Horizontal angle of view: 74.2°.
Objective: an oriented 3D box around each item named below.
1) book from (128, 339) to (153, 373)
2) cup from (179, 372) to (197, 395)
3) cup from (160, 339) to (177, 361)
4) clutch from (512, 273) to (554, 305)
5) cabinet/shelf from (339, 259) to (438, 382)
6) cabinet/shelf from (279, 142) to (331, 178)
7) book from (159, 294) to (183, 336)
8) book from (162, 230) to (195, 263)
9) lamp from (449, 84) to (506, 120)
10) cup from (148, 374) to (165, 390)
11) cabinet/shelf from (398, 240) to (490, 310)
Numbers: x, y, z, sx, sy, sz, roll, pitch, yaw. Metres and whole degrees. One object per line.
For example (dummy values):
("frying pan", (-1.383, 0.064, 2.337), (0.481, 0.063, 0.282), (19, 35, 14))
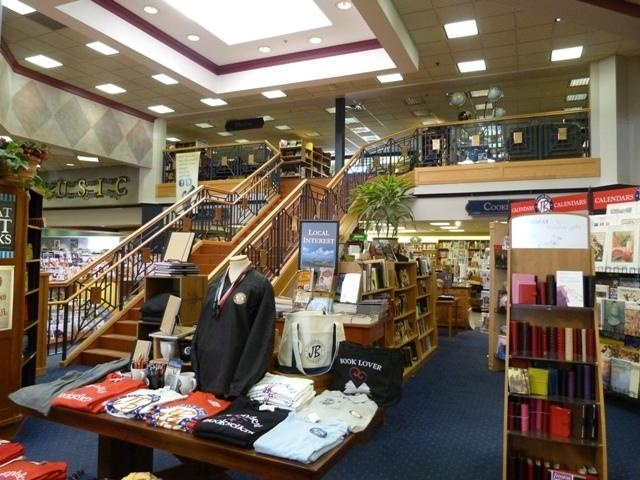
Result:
("book", (-1.473, 0.984, 3.641), (0.055, 0.221, 0.232), (15, -13, -37))
("cup", (-0.983, 1.105, 3.240), (0.103, 0.135, 0.161), (6, -6, -42))
("cup", (-1.394, 1.027, 3.970), (0.209, 0.185, 0.142), (3, -4, -31))
("clutch", (1.808, 0.460, 3.799), (0.381, 0.328, 0.254), (1, -11, 3))
("cabinet/shelf", (0.937, 1.111, 5.886), (0.693, 1.318, 2.026), (-2, -3, 21))
("cabinet/shelf", (-0.438, -2.809, 15.554), (1.585, 1.577, 3.413), (1, -1, 6))
("book", (-1.375, 0.719, 4.029), (0.077, 0.313, 0.325), (24, -25, -32))
("book", (-2.043, 0.105, 6.358), (0.476, 0.414, 0.106), (-3, -27, 34))
("lamp", (5.043, -4.422, 13.927), (1.790, 0.515, 1.199), (0, -38, 17))
("cup", (-1.231, 1.100, 3.304), (0.084, 0.114, 0.126), (-4, -9, 18))
("cabinet/shelf", (3.604, 0.969, 11.933), (2.426, 2.138, 1.251), (-2, -7, 28))
